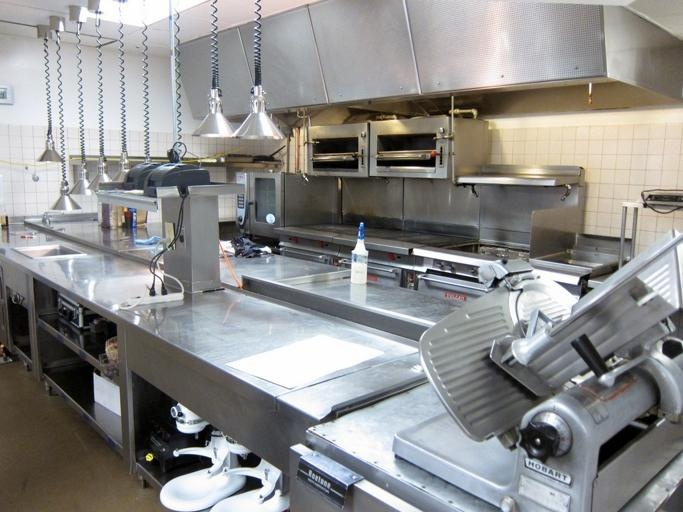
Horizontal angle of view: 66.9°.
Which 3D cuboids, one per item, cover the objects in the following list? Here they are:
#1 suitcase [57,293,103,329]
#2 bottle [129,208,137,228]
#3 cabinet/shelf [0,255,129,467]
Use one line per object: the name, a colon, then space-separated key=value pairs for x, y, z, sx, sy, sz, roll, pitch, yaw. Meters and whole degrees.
suitcase: x=-1.620 y=0.325 z=3.266 sx=0.327 sy=0.156 sz=0.250 roll=16 pitch=16 yaw=35
bottle: x=-2.086 y=-0.383 z=5.165 sx=0.080 sy=0.194 sz=0.174 roll=-6 pitch=14 yaw=-20
cabinet/shelf: x=-1.685 y=0.654 z=3.172 sx=0.313 sy=0.466 sz=1.048 roll=-13 pitch=25 yaw=-40
